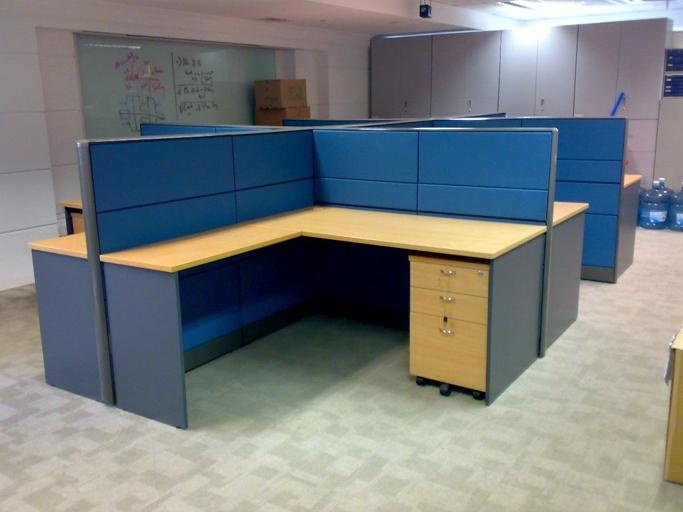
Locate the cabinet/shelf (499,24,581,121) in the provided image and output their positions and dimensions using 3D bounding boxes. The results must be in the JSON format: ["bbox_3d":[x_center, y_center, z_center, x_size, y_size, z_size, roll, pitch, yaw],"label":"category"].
[{"bbox_3d":[2.945,-3.022,8.732,1.565,1.342,1.290,-8,18,-10],"label":"cabinet/shelf"}]

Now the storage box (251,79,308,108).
[{"bbox_3d":[-0.913,-2.348,7.632,0.563,0.339,0.577,8,14,34],"label":"storage box"}]

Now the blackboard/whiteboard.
[{"bbox_3d":[-2.273,-2.213,6.540,0.154,1.132,2.405,12,25,35],"label":"blackboard/whiteboard"}]
